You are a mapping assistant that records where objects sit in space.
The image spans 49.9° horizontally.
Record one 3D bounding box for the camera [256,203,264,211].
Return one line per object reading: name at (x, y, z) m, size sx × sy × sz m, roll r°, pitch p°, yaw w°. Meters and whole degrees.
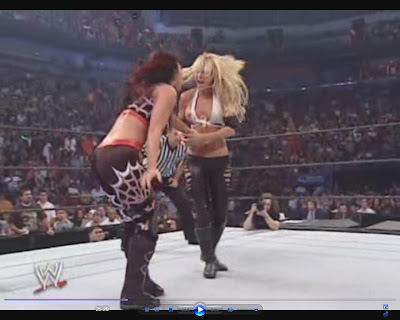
camera at (0.476, 0.370, 3.386) m, size 0.045 × 0.051 × 0.047 m, roll 0°, pitch -6°, yaw 7°
